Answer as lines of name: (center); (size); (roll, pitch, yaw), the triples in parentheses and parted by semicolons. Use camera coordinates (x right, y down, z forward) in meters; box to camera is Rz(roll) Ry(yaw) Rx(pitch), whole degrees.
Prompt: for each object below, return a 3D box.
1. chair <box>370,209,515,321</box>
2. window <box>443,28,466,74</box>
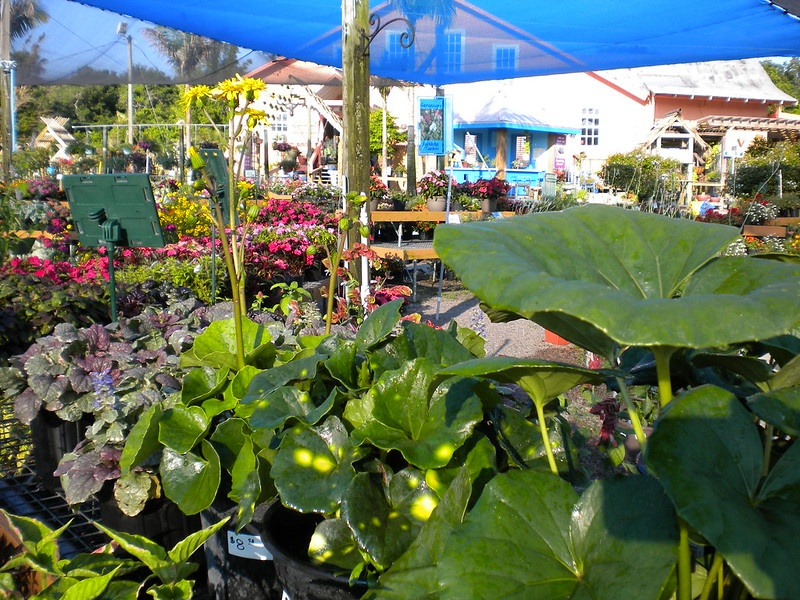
chair: (0.294, -0.518, 7.605); (1.126, 0.946, 3.052); (2, 10, 7)
window: (0.689, -3.168, 8.675); (0.288, 0.549, 0.023); (1, -3, 2)
